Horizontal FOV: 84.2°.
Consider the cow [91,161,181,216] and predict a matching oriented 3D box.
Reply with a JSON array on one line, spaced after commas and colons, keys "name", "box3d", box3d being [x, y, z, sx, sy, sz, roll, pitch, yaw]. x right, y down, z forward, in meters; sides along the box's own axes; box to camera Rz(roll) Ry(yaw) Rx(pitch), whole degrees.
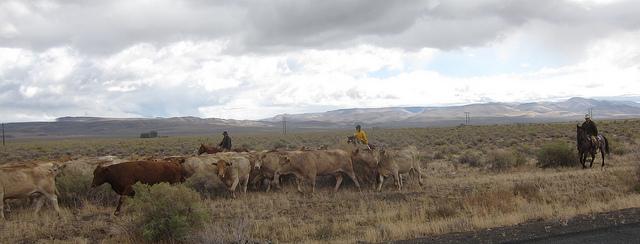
[{"name": "cow", "box3d": [-17.981, 6.544, 34.371, 11.665, 5.399, 5.756, 1, -2, -17]}]

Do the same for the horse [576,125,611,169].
[{"name": "horse", "box3d": [33.518, 2.899, 44.968, 4.457, 5.810, 3.474, 0, 2, -41]}]

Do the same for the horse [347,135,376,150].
[{"name": "horse", "box3d": [5.401, 2.609, 46.161, 3.542, 0.691, 1.660, 25, -5, 3]}]

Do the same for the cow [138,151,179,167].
[{"name": "cow", "box3d": [-20.054, 4.534, 44.051, 4.170, 1.608, 1.317, 11, 5, 5]}]
